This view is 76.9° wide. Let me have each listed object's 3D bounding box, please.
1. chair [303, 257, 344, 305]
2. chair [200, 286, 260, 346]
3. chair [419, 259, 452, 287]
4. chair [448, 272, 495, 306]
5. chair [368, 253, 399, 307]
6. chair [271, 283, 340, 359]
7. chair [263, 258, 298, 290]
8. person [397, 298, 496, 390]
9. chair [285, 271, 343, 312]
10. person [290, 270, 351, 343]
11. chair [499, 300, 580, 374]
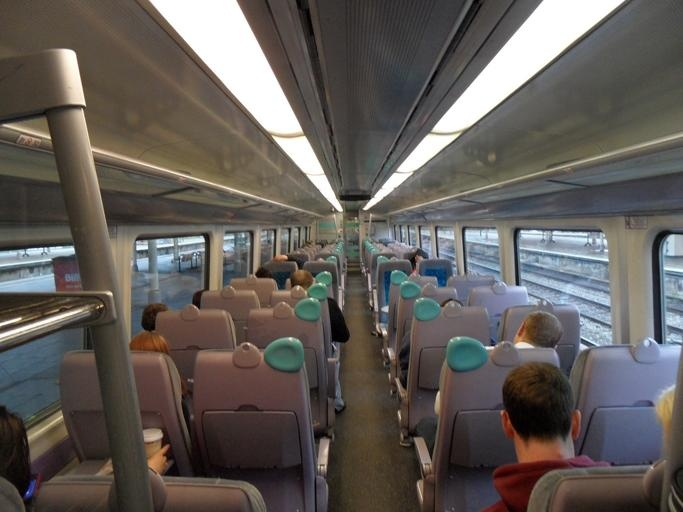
[{"bbox_3d":[-0.255,0.543,9.204,0.707,1.179,0.936,0,1,5],"label":"chair"},{"bbox_3d":[-1.246,0.564,5.238,0.791,0.933,0.647,1,7,-1],"label":"chair"},{"bbox_3d":[1.951,0.399,9.184,0.507,0.837,0.651,1,-2,6],"label":"chair"},{"bbox_3d":[1.925,0.418,6.378,0.514,0.642,0.515,2,0,3],"label":"chair"},{"bbox_3d":[0.819,0.483,10.257,0.738,1.275,1.010,1,4,1],"label":"chair"},{"bbox_3d":[-0.393,0.690,4.988,0.661,1.086,0.867,0,5,13],"label":"chair"},{"bbox_3d":[-1.274,0.320,9.219,0.624,0.655,0.702,1,9,5],"label":"chair"},{"bbox_3d":[0.912,0.857,4.186,0.666,1.099,0.813,2,0,2],"label":"person"},{"bbox_3d":[-0.446,0.500,5.968,0.443,0.613,0.642,0,-13,2],"label":"chair"},{"bbox_3d":[-0.148,0.639,5.499,0.721,1.193,0.921,-3,-1,12],"label":"person"},{"bbox_3d":[1.903,0.749,4.327,0.572,0.915,0.730,1,2,3],"label":"chair"}]
